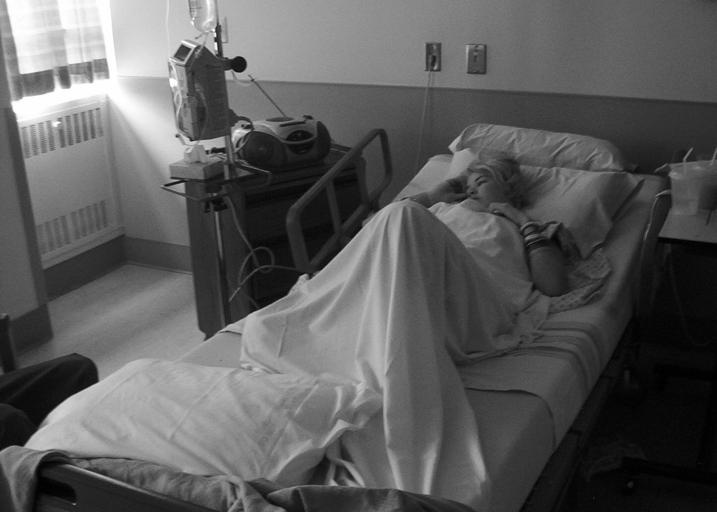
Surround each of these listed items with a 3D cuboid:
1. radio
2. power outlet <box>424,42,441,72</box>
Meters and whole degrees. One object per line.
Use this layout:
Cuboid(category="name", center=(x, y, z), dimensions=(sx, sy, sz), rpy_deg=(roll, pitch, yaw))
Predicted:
Cuboid(category="radio", center=(-0.405, -0.628, 2.897), dimensions=(0.422, 0.301, 0.388), rpy_deg=(-14, 27, -34))
Cuboid(category="power outlet", center=(0.378, -1.018, 2.916), dimensions=(0.089, 0.135, 0.046), rpy_deg=(3, 9, 11))
